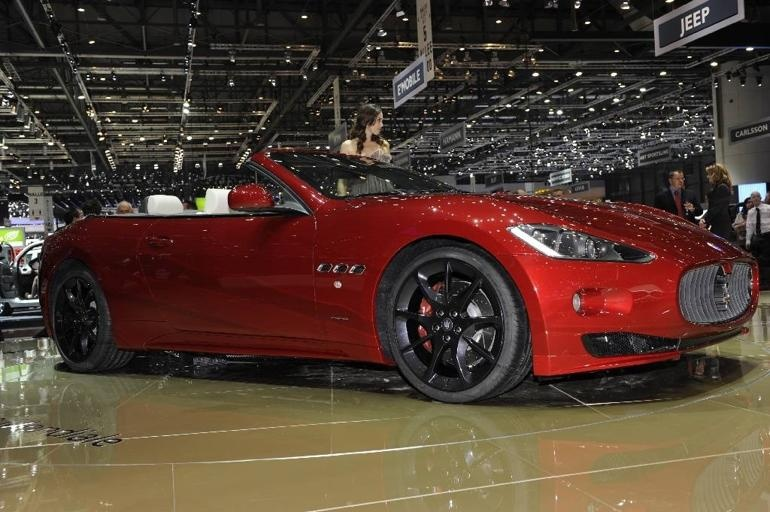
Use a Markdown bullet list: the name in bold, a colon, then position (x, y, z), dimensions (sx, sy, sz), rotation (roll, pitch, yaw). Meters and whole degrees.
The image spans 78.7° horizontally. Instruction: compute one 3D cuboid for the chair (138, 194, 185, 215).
- **chair**: position (-1.779, -0.394, 3.742), dimensions (0.276, 0.169, 0.352), rotation (1, 0, 41)
